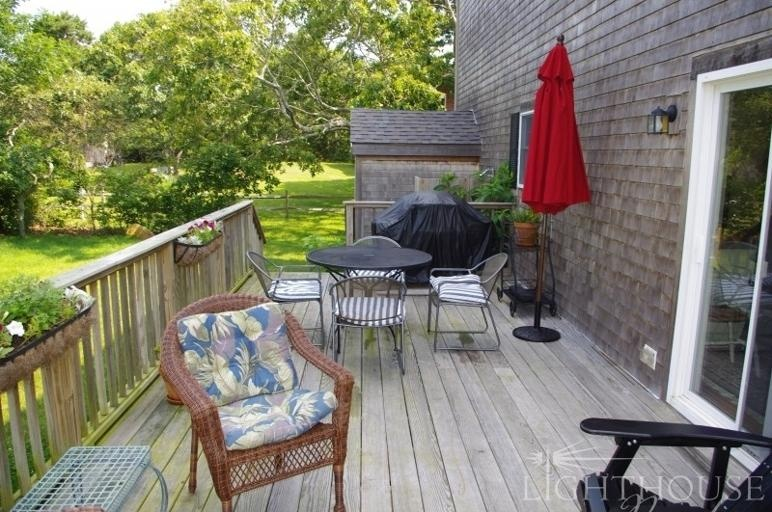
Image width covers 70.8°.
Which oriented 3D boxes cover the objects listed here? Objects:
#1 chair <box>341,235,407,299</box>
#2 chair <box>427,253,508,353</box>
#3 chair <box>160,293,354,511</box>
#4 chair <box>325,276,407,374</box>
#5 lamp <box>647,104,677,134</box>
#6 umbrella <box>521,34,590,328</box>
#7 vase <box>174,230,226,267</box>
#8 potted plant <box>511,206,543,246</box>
[{"bbox_3d":[-0.125,0.077,6.358,0.598,0.461,0.594,0,26,0],"label":"chair"},{"bbox_3d":[0.821,0.437,6.153,0.984,1.315,1.171,0,3,-2],"label":"chair"},{"bbox_3d":[-0.884,0.921,3.929,1.232,1.491,1.400,-1,3,-30],"label":"chair"},{"bbox_3d":[-0.166,0.603,5.663,0.817,1.356,0.948,-1,39,1],"label":"chair"},{"bbox_3d":[2.425,-1.210,4.797,0.226,0.314,0.198,2,6,-3],"label":"lamp"},{"bbox_3d":[1.755,-1.309,5.560,0.637,1.818,0.416,3,12,20],"label":"umbrella"},{"bbox_3d":[-1.860,-0.065,5.419,0.232,0.161,0.405,6,17,15],"label":"vase"},{"bbox_3d":[1.869,-0.395,7.214,0.459,0.594,0.513,1,4,24],"label":"potted plant"}]
